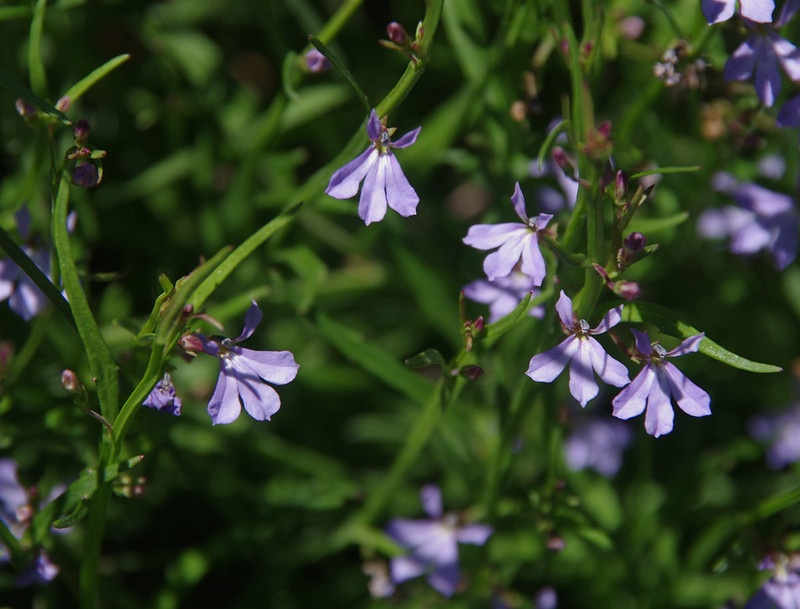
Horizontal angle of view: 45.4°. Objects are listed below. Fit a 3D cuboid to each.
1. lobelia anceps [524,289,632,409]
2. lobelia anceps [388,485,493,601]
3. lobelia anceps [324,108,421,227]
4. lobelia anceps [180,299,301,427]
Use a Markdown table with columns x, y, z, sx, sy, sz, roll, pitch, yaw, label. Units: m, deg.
| x | y | z | sx | sy | sz | roll | pitch | yaw | label |
| --- | --- | --- | --- | --- | --- | --- | --- | --- | --- |
| 0.471 | 0.092 | 2.421 | 0.256 | 0.242 | 0.273 | 18 | 62 | 14 | lobelia anceps |
| 0.092 | 0.697 | 2.765 | 0.295 | 0.139 | 0.268 | 24 | 65 | 16 | lobelia anceps |
| -0.061 | -0.326 | 2.490 | 0.205 | 0.293 | 0.135 | 4 | 22 | 0 | lobelia anceps |
| -0.404 | 0.175 | 2.425 | 0.289 | 0.134 | 0.203 | -9 | 60 | -1 | lobelia anceps |
